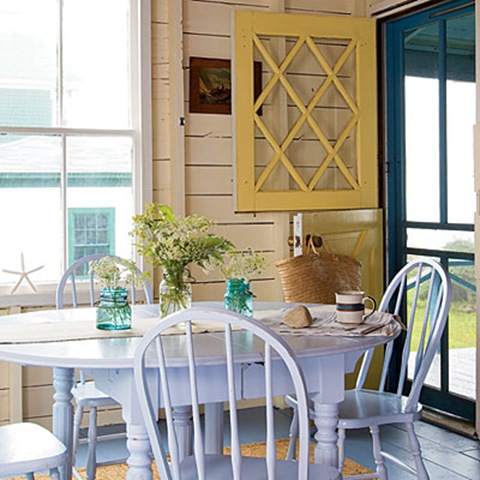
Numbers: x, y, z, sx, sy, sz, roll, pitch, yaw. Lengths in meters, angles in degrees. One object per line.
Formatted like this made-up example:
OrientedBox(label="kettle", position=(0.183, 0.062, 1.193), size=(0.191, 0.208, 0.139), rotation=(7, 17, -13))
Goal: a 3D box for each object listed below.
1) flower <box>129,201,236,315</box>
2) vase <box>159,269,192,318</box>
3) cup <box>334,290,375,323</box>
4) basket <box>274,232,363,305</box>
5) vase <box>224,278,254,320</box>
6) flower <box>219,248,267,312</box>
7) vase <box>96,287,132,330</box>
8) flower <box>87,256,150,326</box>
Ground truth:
OrientedBox(label="flower", position=(-0.176, 0.107, 2.035), size=(0.253, 0.325, 0.253), rotation=(-1, -16, 29))
OrientedBox(label="vase", position=(-0.221, 0.181, 2.018), size=(0.118, 0.253, 0.131), rotation=(1, -6, -7))
OrientedBox(label="cup", position=(0.368, 0.215, 1.906), size=(0.123, 0.105, 0.082), rotation=(5, 10, 42))
OrientedBox(label="basket", position=(0.429, 0.174, 3.200), size=(0.376, 0.459, 0.324), rotation=(-2, -6, 11))
OrientedBox(label="vase", position=(-0.011, 0.200, 2.061), size=(0.107, 0.212, 0.108), rotation=(0, -3, -11))
OrientedBox(label="flower", position=(0.002, 0.174, 2.059), size=(0.162, 0.230, 0.186), rotation=(-1, -24, 2))
OrientedBox(label="vase", position=(-0.419, 0.228, 1.937), size=(0.094, 0.135, 0.106), rotation=(10, -13, -43))
OrientedBox(label="flower", position=(-0.409, 0.173, 1.934), size=(0.150, 0.241, 0.156), rotation=(4, -4, -42))
